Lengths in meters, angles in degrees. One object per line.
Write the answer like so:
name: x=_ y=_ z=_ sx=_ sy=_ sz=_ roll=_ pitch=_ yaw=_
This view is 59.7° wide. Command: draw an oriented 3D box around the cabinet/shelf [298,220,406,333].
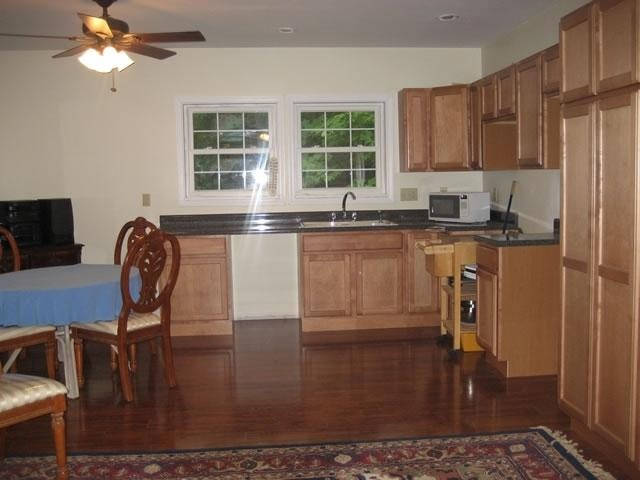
cabinet/shelf: x=0.300 y=0.364 z=5.398 sx=1.066 sy=0.950 sz=0.407 roll=-1 pitch=2 yaw=-7

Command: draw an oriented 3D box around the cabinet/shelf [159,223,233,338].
cabinet/shelf: x=-1.316 y=0.402 z=6.026 sx=0.830 sy=1.495 sz=0.838 roll=-1 pitch=4 yaw=-5

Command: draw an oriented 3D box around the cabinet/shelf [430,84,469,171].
cabinet/shelf: x=1.317 y=-1.128 z=5.656 sx=0.415 sy=0.835 sz=0.153 roll=1 pitch=13 yaw=10

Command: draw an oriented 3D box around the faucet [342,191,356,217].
faucet: x=0.303 y=-0.373 z=5.955 sx=0.156 sy=0.286 sz=0.306 roll=0 pitch=13 yaw=2

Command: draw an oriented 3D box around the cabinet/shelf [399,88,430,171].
cabinet/shelf: x=0.990 y=-1.130 z=5.778 sx=0.288 sy=0.828 sz=0.129 roll=2 pitch=13 yaw=12

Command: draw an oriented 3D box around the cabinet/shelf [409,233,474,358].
cabinet/shelf: x=1.142 y=0.444 z=5.082 sx=0.542 sy=0.997 sz=0.697 roll=1 pitch=13 yaw=9
